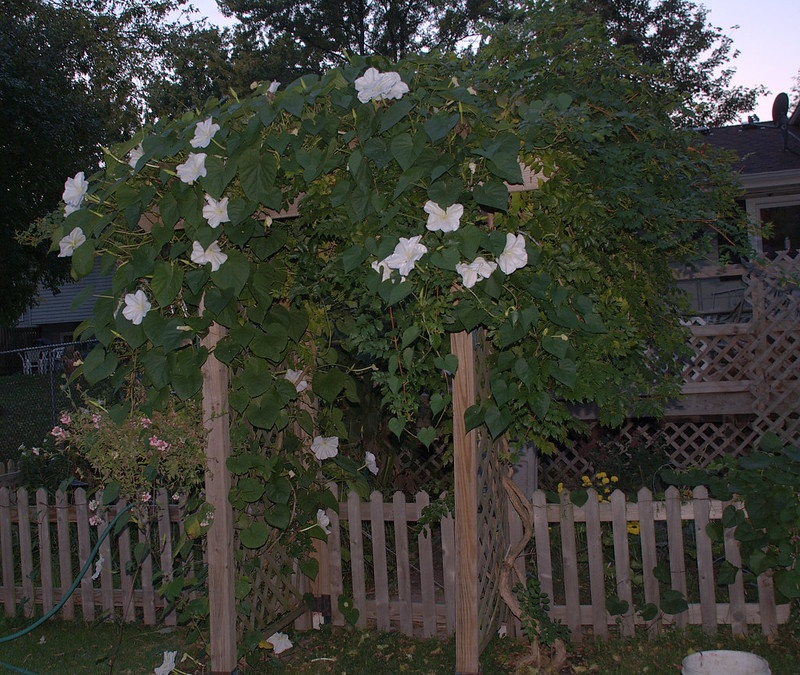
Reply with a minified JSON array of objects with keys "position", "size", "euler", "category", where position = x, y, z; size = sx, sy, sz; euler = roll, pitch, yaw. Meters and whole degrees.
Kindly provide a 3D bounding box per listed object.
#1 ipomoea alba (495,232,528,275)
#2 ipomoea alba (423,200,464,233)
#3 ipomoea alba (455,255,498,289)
[{"position":[0.598,-0.442,4.104],"size":[0.168,0.206,0.071],"euler":[-15,21,-28],"category":"ipomoea alba"},{"position":[0.231,-0.638,4.095],"size":[0.194,0.165,0.108],"euler":[1,-7,4],"category":"ipomoea alba"},{"position":[0.405,-0.351,4.086],"size":[0.166,0.174,0.075],"euler":[-25,15,-4],"category":"ipomoea alba"}]
